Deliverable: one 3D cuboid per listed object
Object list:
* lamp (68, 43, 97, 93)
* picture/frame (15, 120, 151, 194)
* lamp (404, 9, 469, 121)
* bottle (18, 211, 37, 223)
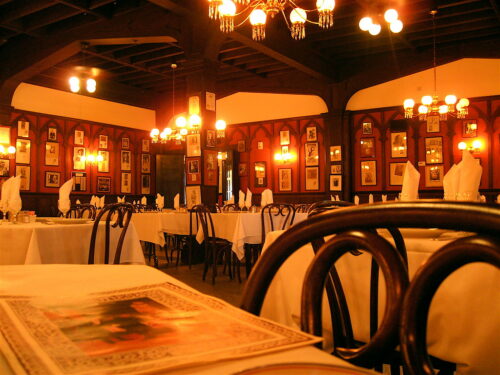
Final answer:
[{"bbox_3d":[-3.929,-2.842,10.266,0.741,1.120,0.741,2,3,-5],"label":"lamp"},{"bbox_3d":[-4.248,-0.758,10.998,3.465,2.272,0.347,-13,5,-42],"label":"picture/frame"},{"bbox_3d":[3.493,-2.168,8.366,1.161,1.532,2.370,-9,3,28],"label":"lamp"},{"bbox_3d":[-1.686,0.219,3.258,0.081,0.143,0.133,2,0,-32],"label":"bottle"}]
